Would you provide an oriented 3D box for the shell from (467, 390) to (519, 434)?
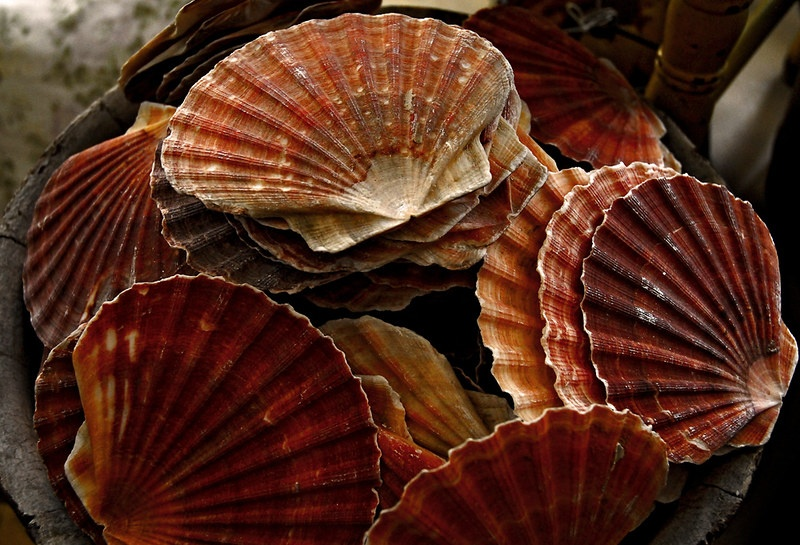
[{"bbox_3d":[0.146,0.207,1.398,0.080,0.018,0.109,6,22,5],"label":"shell"}]
